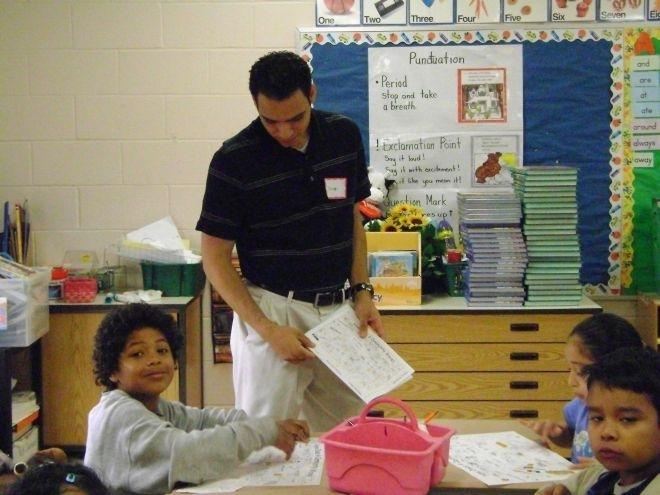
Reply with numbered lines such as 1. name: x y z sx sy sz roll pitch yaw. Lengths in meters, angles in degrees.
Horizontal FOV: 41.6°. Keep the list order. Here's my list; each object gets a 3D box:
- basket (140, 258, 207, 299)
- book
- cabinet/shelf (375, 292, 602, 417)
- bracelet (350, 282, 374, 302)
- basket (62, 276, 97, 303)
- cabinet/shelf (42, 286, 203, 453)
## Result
1. basket: -0.837 0.177 4.817 0.353 0.170 0.264 0 -8 22
2. book: 1.021 -0.106 4.932 0.646 0.868 0.720 0 5 3
3. cabinet/shelf: 0.814 0.574 4.483 1.023 0.728 0.574 -1 0 1
4. bracelet: 0.129 0.177 3.723 0.094 0.066 0.088 0 -15 -18
5. basket: -1.331 0.224 4.607 0.139 0.109 0.151 0 10 -8
6. cabinet/shelf: -1.095 0.594 4.930 1.034 1.080 0.743 -1 1 -5
